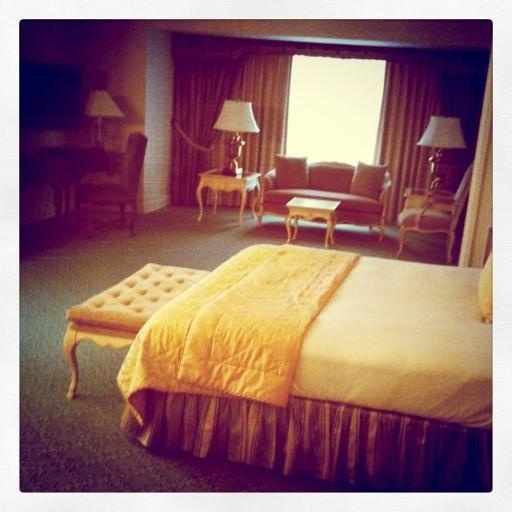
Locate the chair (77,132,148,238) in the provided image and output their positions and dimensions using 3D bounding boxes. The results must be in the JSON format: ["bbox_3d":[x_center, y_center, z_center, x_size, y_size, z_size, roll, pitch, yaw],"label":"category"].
[{"bbox_3d":[-0.664,-0.371,2.170,0.254,0.442,0.221,5,8,2],"label":"chair"}]

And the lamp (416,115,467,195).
[{"bbox_3d":[0.892,-0.477,2.198,0.172,0.363,0.189,1,10,3],"label":"lamp"}]

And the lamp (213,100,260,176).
[{"bbox_3d":[-0.100,-0.578,2.284,0.222,0.370,0.139,12,14,28],"label":"lamp"}]

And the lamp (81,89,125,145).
[{"bbox_3d":[-0.667,-0.600,2.000,0.159,0.272,0.154,-4,11,-22],"label":"lamp"}]

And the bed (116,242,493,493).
[{"bbox_3d":[0.201,0.357,1.436,0.786,0.259,0.876,8,22,19],"label":"bed"}]

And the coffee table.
[{"bbox_3d":[0.280,-0.130,2.397,0.241,0.241,0.177,3,0,14],"label":"coffee table"}]

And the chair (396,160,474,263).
[{"bbox_3d":[0.862,-0.259,2.252,0.351,0.626,0.362,4,17,11],"label":"chair"}]

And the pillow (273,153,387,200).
[{"bbox_3d":[0.367,-0.397,2.309,0.552,0.181,0.063,9,12,7],"label":"pillow"}]

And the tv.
[{"bbox_3d":[-0.821,-0.677,1.928,0.282,0.298,0.030,-11,56,-31],"label":"tv"}]
